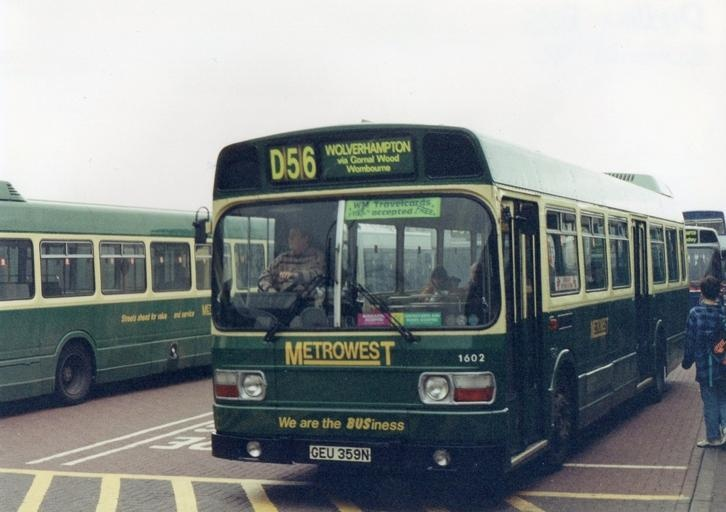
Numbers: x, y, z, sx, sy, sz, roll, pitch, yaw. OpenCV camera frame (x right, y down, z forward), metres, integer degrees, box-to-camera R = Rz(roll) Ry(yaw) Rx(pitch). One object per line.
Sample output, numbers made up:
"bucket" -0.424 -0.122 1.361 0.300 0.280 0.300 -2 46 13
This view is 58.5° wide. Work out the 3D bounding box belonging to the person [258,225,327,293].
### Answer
"person" -0.726 0.109 6.805 0.773 0.882 0.528 -1 -3 32
